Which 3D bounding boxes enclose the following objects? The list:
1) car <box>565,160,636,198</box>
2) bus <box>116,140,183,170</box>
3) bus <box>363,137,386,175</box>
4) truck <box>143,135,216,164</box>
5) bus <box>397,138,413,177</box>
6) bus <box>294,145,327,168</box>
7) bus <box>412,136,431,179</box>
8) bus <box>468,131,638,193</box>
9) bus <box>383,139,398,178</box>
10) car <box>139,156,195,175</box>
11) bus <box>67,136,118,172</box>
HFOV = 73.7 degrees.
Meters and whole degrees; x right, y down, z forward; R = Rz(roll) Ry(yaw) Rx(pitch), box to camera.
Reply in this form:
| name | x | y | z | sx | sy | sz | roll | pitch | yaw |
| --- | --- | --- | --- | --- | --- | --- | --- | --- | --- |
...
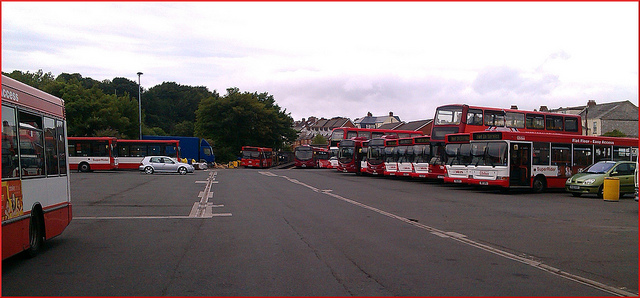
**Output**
| name | x | y | z | sx | sy | sz | roll | pitch | yaw |
| --- | --- | --- | --- | --- | --- | --- | --- | --- | --- |
| car | 18.733 | 2.009 | 28.348 | 4.213 | 2.387 | 1.293 | 0 | -2 | -8 |
| bus | -22.137 | 0.312 | 54.498 | 9.133 | 2.887 | 2.845 | -1 | 2 | -13 |
| bus | 5.882 | 0.699 | 44.910 | 1.118 | 3.681 | 3.809 | 1 | -3 | -25 |
| truck | -21.681 | 0.686 | 68.458 | 14.003 | 4.750 | 3.929 | -1 | -4 | 23 |
| bus | 8.017 | 0.730 | 40.566 | 0.715 | 3.397 | 2.124 | 0 | -2 | -17 |
| bus | -1.646 | 1.398 | 75.758 | 5.837 | 3.815 | 2.409 | 2 | -3 | -41 |
| bus | 9.295 | 0.665 | 38.780 | 0.902 | 3.614 | 2.229 | 1 | -3 | -29 |
| bus | 18.246 | 1.003 | 32.363 | 18.920 | 3.718 | 4.726 | 0 | -2 | -13 |
| bus | 7.050 | 0.759 | 42.638 | 1.022 | 3.464 | 2.653 | 0 | -2 | 0 |
| car | -17.212 | 1.830 | 47.503 | 6.488 | 1.822 | 2.260 | 0 | -1 | -11 |
| bus | -25.990 | 0.617 | 48.874 | 4.760 | 3.876 | 1.203 | 0 | -2 | -9 |
